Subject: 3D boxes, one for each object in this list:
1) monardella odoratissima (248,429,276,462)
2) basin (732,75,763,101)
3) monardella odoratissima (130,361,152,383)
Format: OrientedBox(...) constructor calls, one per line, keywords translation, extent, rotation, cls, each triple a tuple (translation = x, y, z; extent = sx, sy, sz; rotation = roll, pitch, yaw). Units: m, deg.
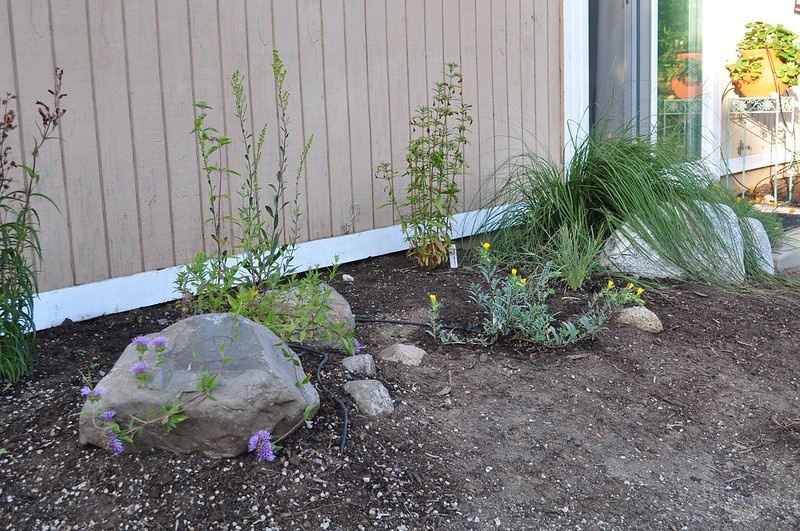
OrientedBox(translation=(-0.525, 0.700, 2.043), extent=(0.062, 0.116, 0.116), rotation=(-14, -19, -21), cls="monardella odoratissima")
OrientedBox(translation=(4.438, -2.280, 6.736), extent=(0.266, 0.227, 0.287), rotation=(-1, 9, 0), cls="basin")
OrientedBox(translation=(-0.989, 0.405, 2.046), extent=(0.069, 0.068, 0.074), rotation=(2, 49, 44), cls="monardella odoratissima")
